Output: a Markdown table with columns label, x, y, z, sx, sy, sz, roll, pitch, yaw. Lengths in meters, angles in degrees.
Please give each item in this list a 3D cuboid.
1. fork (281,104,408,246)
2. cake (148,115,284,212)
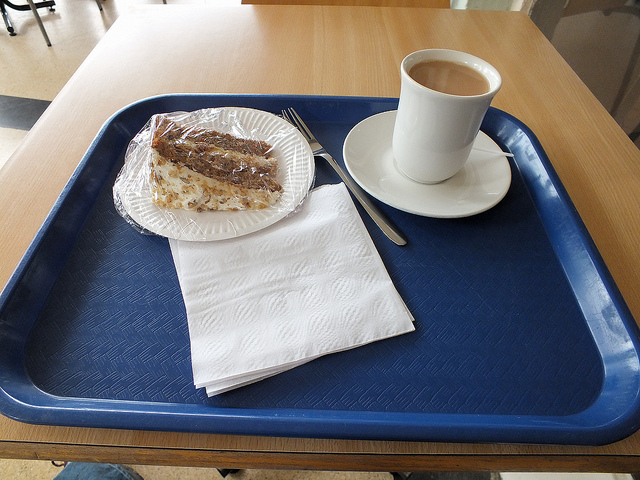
| label | x | y | z | sx | sy | sz | roll | pitch | yaw |
| --- | --- | --- | --- | --- | --- | --- | --- | --- | --- |
| fork | 0.046 | -0.111 | 0.878 | 0.036 | 0.028 | 0.332 | -30 | 69 | 0 |
| cake | -0.182 | -0.124 | 0.861 | 0.219 | 0.084 | 0.177 | 1 | 58 | -9 |
